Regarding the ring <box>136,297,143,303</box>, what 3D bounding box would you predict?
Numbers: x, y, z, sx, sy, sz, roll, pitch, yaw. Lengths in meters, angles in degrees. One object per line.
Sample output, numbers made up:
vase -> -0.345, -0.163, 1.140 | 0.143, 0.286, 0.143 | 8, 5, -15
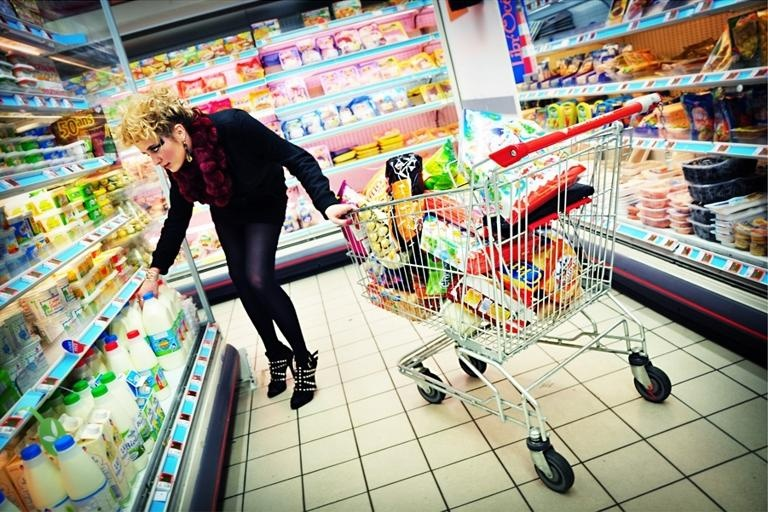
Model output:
ring -> -1.633, 0.295, 2.905 | 0.033, 0.044, 0.048 | -3, 42, -25

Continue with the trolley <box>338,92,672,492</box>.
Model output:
trolley -> 0.660, 0.088, 2.373 | 1.056, 1.388, 1.504 | -17, 16, -22

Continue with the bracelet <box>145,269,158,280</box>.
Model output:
bracelet -> -1.520, 0.119, 2.859 | 0.067, 0.064, 0.067 | 4, 61, -14
